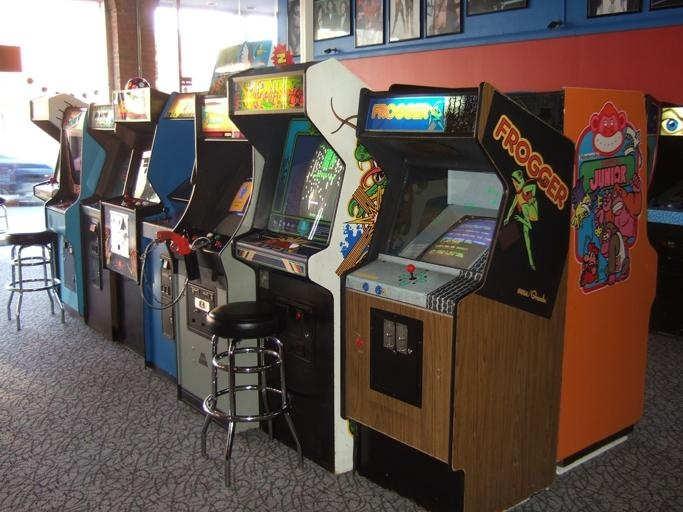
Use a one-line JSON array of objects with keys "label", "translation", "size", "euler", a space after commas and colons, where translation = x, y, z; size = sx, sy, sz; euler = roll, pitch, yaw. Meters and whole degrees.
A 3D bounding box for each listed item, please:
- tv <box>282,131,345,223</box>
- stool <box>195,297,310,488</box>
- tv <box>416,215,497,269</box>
[{"label": "tv", "translation": [-0.139, -0.418, 2.959], "size": [0.495, 0.702, 0.029], "euler": [3, -1, 43]}, {"label": "stool", "translation": [-0.588, 0.632, 3.467], "size": [0.827, 1.374, 0.835], "euler": [-1, 9, -17]}, {"label": "tv", "translation": [0.603, -0.039, 2.637], "size": [0.424, 0.093, 0.320], "euler": [-37, 36, -30]}]
